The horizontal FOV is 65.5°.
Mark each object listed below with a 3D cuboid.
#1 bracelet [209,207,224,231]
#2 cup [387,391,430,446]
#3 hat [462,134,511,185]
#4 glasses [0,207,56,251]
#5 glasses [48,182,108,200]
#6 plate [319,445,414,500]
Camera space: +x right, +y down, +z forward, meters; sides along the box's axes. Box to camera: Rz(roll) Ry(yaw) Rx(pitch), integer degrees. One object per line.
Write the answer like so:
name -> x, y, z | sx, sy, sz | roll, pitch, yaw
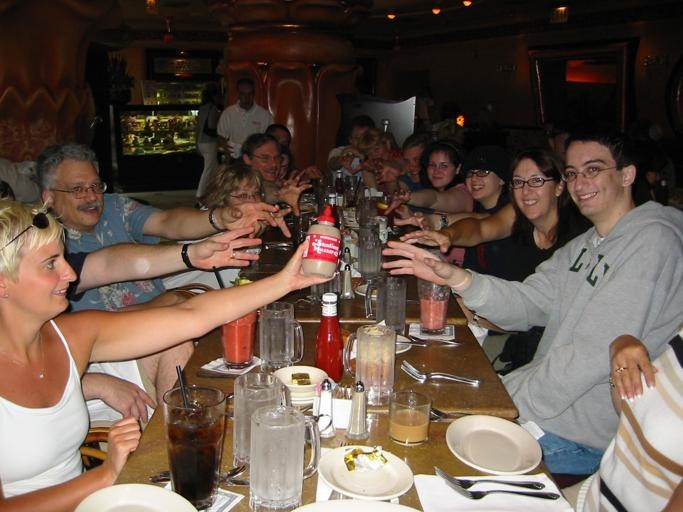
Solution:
bracelet -> -0.724, -0.207, 3.050 | 0.033, 0.109, 0.111 | -12, 43, -9
cup -> 0.208, 0.496, 1.667 | 0.158, 0.154, 0.153 | 1, 6, 0
hat -> 1.160, -0.717, 3.963 | 0.412, 0.271, 0.380 | -5, 14, -33
glasses -> -0.981, -0.075, 1.716 | 0.138, 0.042, 0.129 | -30, 19, 5
glasses -> -1.401, -0.347, 2.808 | 0.163, 0.043, 0.156 | -2, 5, 36
plate -> 0.067, 0.596, 1.468 | 0.262, 0.086, 0.193 | 0, 9, 5
